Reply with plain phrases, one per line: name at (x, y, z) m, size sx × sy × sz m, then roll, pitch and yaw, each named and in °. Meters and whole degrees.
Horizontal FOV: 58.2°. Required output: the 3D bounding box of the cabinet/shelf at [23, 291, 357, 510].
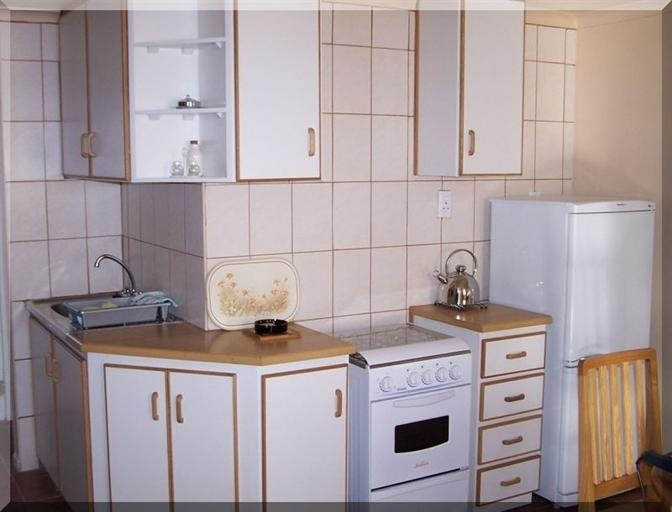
cabinet/shelf at (-0.794, 0.697, 2.881) m, size 0.865 × 0.730 × 1.204 m, roll -3°, pitch 6°, yaw -33°

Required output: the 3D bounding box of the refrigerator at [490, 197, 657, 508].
refrigerator at (1.298, 0.409, 3.510) m, size 0.723 × 1.692 × 0.632 m, roll -2°, pitch 8°, yaw -18°

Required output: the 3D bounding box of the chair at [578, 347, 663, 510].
chair at (1.412, 0.892, 3.076) m, size 0.507 × 0.838 × 0.449 m, roll -2°, pitch 9°, yaw -2°

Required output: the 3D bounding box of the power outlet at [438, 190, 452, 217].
power outlet at (0.625, -0.299, 3.435) m, size 0.094 × 0.149 × 0.021 m, roll -7°, pitch 11°, yaw -29°

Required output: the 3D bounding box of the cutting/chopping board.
cutting/chopping board at (-0.401, 0.170, 2.972) m, size 0.412 × 0.287 × 0.073 m, roll -4°, pitch 8°, yaw -33°

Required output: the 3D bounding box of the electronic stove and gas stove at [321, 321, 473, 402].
electronic stove and gas stove at (0.298, 0.485, 3.407) m, size 1.120 × 0.218 × 1.066 m, roll -2°, pitch 4°, yaw -33°

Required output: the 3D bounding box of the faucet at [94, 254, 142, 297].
faucet at (-1.255, 0.078, 3.498) m, size 0.227 × 0.278 × 0.231 m, roll 7°, pitch 10°, yaw 21°

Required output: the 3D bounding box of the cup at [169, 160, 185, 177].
cup at (-0.740, -0.414, 2.843) m, size 0.072 × 0.068 × 0.071 m, roll 3°, pitch 0°, yaw 0°

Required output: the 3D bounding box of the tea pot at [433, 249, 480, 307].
tea pot at (0.741, 0.109, 3.416) m, size 0.329 × 0.308 × 0.239 m, roll -7°, pitch 11°, yaw -28°
